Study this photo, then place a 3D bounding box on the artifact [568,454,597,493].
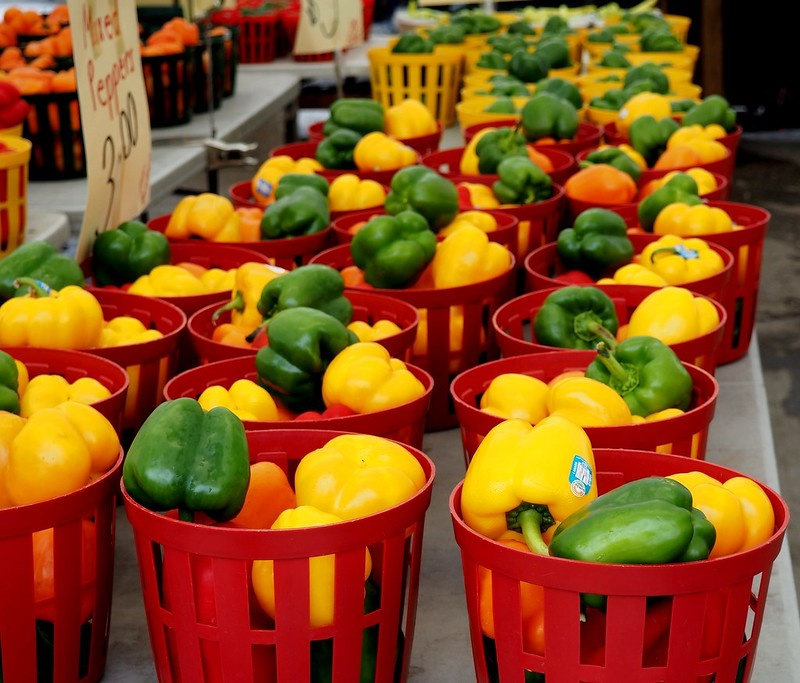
[{"bbox_3d":[0.226,0.165,0.979,0.033,0.047,0.012,3,-11,-25],"label":"artifact"}]
